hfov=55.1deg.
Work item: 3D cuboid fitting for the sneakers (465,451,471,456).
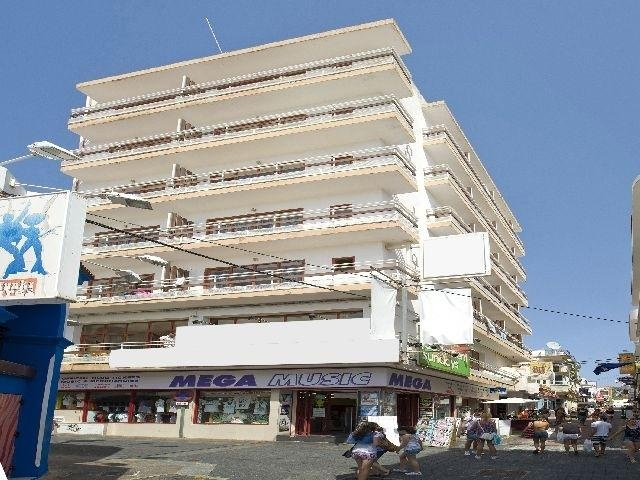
[{"bbox_3d":[6.285,9.046,26.170,0.173,0.144,0.428,-1,-6,16],"label":"sneakers"}]

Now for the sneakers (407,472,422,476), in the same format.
[{"bbox_3d":[3.073,7.621,20.073,0.539,0.158,0.145,-1,-26,12],"label":"sneakers"}]

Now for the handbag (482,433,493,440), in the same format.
[{"bbox_3d":[6.968,8.125,25.523,0.334,0.249,0.570,-12,-22,33],"label":"handbag"}]
